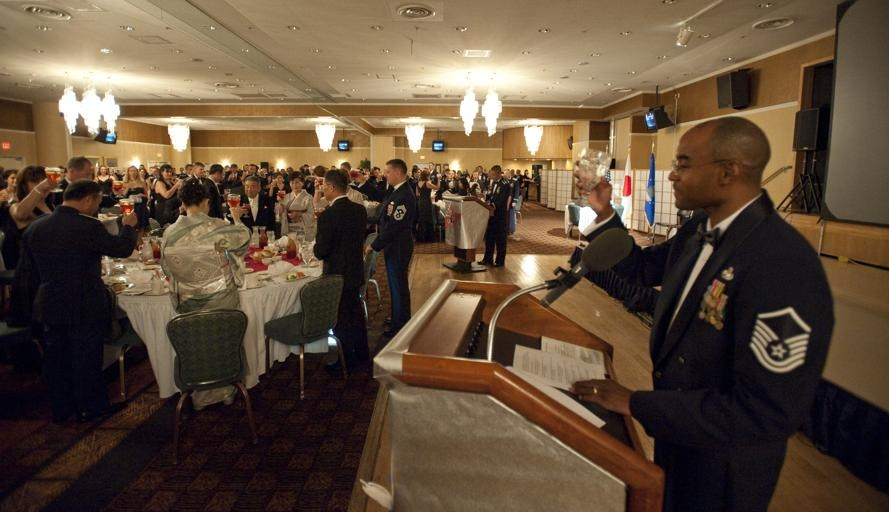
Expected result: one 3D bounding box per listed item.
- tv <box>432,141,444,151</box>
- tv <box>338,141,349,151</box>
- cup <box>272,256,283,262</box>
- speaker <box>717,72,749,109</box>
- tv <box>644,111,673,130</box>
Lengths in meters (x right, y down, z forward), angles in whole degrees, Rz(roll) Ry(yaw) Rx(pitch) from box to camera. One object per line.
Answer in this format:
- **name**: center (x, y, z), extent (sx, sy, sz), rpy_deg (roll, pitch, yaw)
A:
- **tv**: center (-0.348, -5.011, 25.263), extent (0.743, 0.378, 0.620), rpy_deg (-2, -7, -8)
- **tv**: center (-4.694, -5.075, 25.103), extent (0.466, 0.373, 0.243), rpy_deg (-1, 24, -19)
- **cup**: center (-2.081, 0.033, 6.792), extent (0.089, 0.059, 0.088), rpy_deg (0, 2, 0)
- **speaker**: center (5.859, -3.393, 11.140), extent (0.661, 0.785, 0.399), rpy_deg (4, 13, 24)
- **tv**: center (5.225, -3.388, 13.624), extent (0.496, 0.504, 0.590), rpy_deg (5, 11, -10)
